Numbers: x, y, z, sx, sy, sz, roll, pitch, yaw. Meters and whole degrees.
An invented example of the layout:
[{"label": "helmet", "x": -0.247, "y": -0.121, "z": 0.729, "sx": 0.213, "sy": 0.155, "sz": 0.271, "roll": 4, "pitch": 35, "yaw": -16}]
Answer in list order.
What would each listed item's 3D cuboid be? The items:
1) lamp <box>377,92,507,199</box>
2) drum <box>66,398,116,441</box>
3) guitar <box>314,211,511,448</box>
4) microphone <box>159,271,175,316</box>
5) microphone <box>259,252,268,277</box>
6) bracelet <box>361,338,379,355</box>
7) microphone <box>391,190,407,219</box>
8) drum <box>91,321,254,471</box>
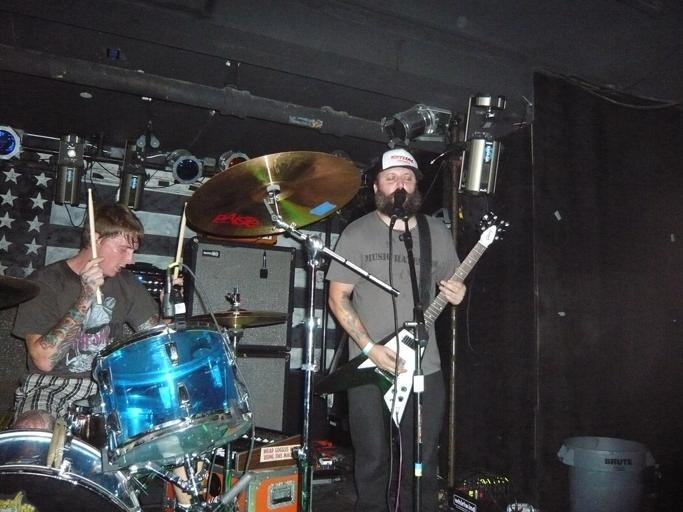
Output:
[{"label": "lamp", "x": 1.067, "y": -0.910, "z": 5.634, "sx": 1.006, "sy": 1.035, "sz": 0.344, "roll": -11, "pitch": 5, "yaw": 6}, {"label": "drum", "x": -1.464, "y": 0.972, "z": 3.636, "sx": 0.232, "sy": 0.227, "sz": 0.406, "roll": 7, "pitch": -38, "yaw": -10}, {"label": "guitar", "x": 0.611, "y": 0.336, "z": 4.256, "sx": 0.724, "sy": 1.973, "sz": 0.194, "roll": 44, "pitch": -10, "yaw": -21}, {"label": "microphone", "x": -1.018, "y": 0.223, "z": 3.696, "sx": 0.076, "sy": 0.299, "sz": 0.212, "roll": 7, "pitch": -7, "yaw": -16}, {"label": "microphone", "x": -0.732, "y": 0.088, "z": 5.902, "sx": 0.078, "sy": 0.249, "sz": 0.034, "roll": 9, "pitch": -7, "yaw": -26}, {"label": "bracelet", "x": 0.189, "y": 0.601, "z": 4.096, "sx": 0.022, "sy": 0.067, "sz": 0.091, "roll": 24, "pitch": -51, "yaw": -25}, {"label": "microphone", "x": 0.373, "y": -0.349, "z": 4.082, "sx": 0.054, "sy": 0.171, "sz": 0.112, "roll": -1, "pitch": 31, "yaw": -14}, {"label": "drum", "x": -1.029, "y": 0.841, "z": 3.802, "sx": 0.925, "sy": 0.645, "sz": 0.913, "roll": -13, "pitch": -17, "yaw": -4}]
